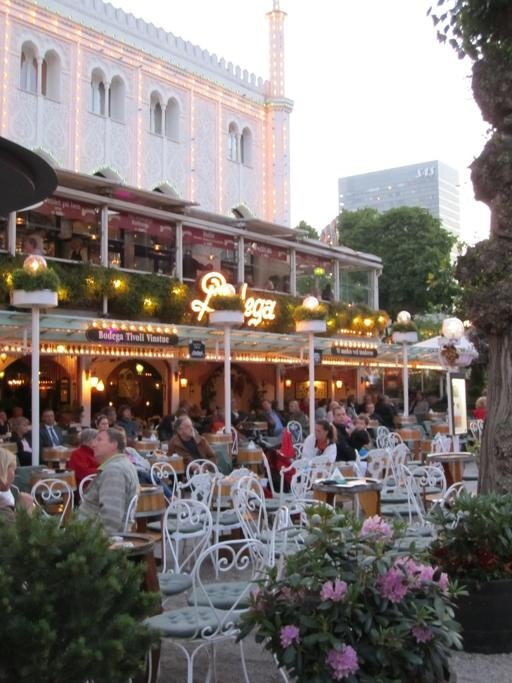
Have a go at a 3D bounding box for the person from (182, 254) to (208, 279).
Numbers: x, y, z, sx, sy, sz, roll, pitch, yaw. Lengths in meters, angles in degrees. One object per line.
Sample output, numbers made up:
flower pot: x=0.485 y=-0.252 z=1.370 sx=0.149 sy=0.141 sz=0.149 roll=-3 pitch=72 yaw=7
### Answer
person: x=-1.571 y=-1.904 z=20.456 sx=0.512 sy=0.570 sz=0.823 roll=0 pitch=-6 yaw=-6

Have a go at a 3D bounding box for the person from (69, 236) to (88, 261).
person: x=-3.858 y=-2.036 z=17.708 sx=0.378 sy=0.659 sz=0.754 roll=1 pitch=-6 yaw=-13

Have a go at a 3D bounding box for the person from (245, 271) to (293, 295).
person: x=0.535 y=-1.603 z=22.623 sx=0.697 sy=0.339 sz=1.025 roll=-3 pitch=-7 yaw=35
